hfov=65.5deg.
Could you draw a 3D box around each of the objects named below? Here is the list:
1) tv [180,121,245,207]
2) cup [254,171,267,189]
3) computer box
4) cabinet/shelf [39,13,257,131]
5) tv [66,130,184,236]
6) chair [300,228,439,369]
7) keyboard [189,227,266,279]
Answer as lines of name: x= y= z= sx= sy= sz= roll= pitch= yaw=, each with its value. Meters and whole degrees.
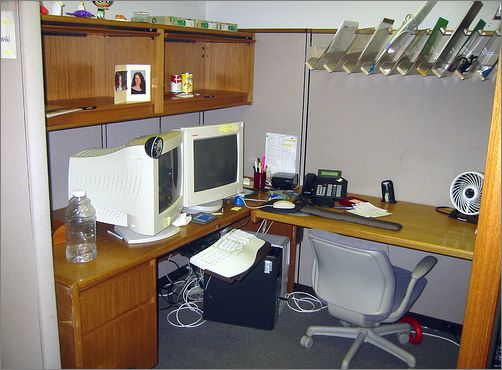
tv: x=-0.276 y=-0.143 z=2.685 sx=0.355 sy=0.598 sz=0.546 roll=4 pitch=8 yaw=30
cup: x=0.072 y=-0.054 z=3.214 sx=0.119 sy=0.182 sz=0.115 roll=1 pitch=21 yaw=0
computer box: x=0.039 y=0.649 z=3.129 sx=0.679 sy=0.654 sz=0.663 roll=4 pitch=11 yaw=13
cabinet/shelf: x=-0.684 y=-0.818 z=2.720 sx=0.441 sy=0.638 sz=1.699 roll=17 pitch=22 yaw=36
tv: x=-0.708 y=-0.049 z=2.489 sx=0.648 sy=0.653 sz=0.581 roll=4 pitch=16 yaw=-5
chair: x=0.794 y=0.770 z=2.551 sx=0.640 sy=0.771 sz=0.610 roll=10 pitch=34 yaw=36
keyboard: x=-0.104 y=0.407 z=2.359 sx=0.331 sy=0.050 sz=0.597 roll=18 pitch=19 yaw=17
